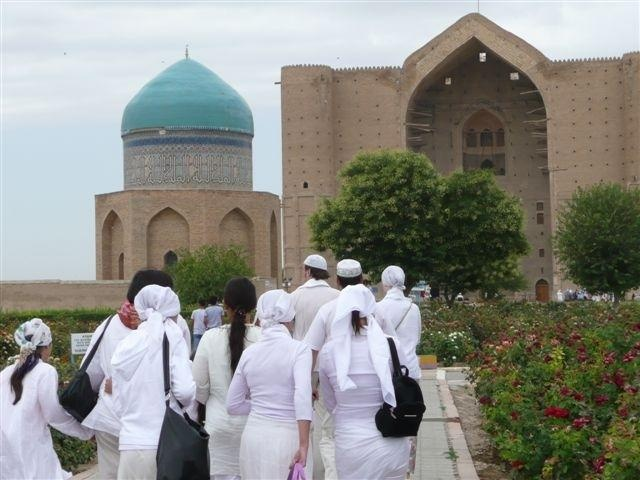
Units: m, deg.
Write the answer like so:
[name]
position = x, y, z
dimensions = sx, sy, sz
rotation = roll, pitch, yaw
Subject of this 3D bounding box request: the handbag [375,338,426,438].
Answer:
[handbag]
position = 0.739, 1.404, 10.785
dimensions = 0.475, 0.953, 0.250
rotation = -2, -3, -6

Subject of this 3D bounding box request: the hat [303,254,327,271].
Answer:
[hat]
position = -0.062, 0.248, 12.730
dimensions = 0.215, 0.113, 0.163
rotation = 19, 4, 30
